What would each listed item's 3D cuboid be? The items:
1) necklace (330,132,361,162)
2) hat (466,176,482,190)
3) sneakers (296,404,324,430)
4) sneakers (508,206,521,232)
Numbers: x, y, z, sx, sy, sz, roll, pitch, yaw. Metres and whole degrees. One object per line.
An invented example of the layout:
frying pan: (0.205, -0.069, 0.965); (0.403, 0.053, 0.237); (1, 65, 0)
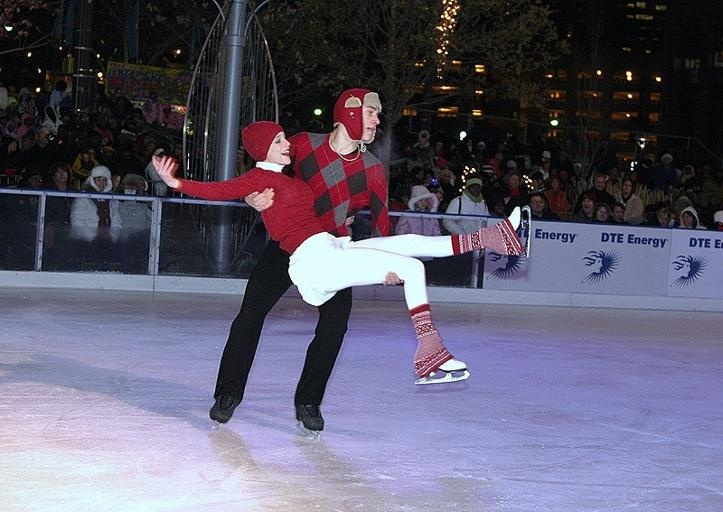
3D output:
necklace: (-0.113, -0.779, 5.010); (0.235, 0.176, 0.182); (-1, 8, 2)
hat: (1.970, -1.305, 12.575); (0.250, 0.142, 0.245); (2, 1, -23)
sneakers: (-0.350, 1.120, 4.896); (0.192, 0.216, 0.206); (3, 5, 0)
sneakers: (1.019, -0.261, 4.771); (0.071, 0.186, 0.084); (15, -15, -42)
